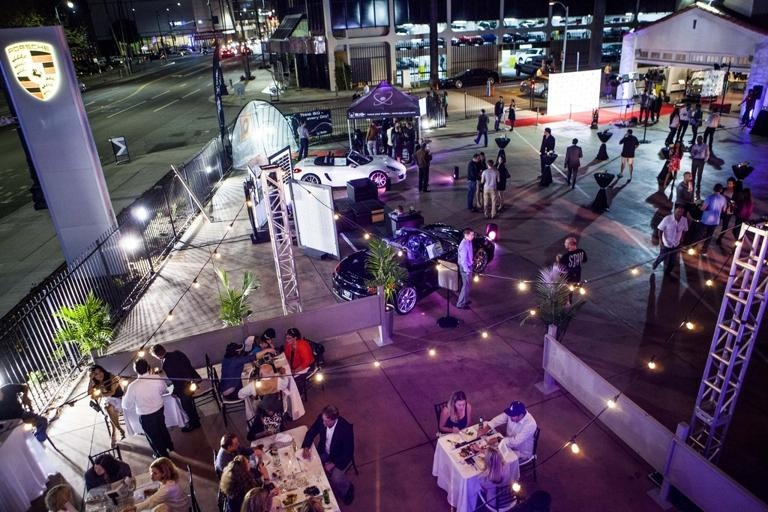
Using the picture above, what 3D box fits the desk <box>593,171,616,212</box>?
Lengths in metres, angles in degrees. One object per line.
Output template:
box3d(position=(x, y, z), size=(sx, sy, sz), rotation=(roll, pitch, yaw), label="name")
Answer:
box3d(position=(8.232, -2.531, 16.981), size=(0.642, 0.848, 0.486), rotation=(0, 28, 5), label="desk")

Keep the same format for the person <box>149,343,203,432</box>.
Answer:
box3d(position=(-4.539, 2.909, 9.845), size=(0.900, 1.928, 0.705), rotation=(-8, 44, -6), label="person")

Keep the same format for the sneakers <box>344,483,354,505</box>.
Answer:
box3d(position=(-0.638, 4.464, 8.611), size=(0.208, 0.342, 0.108), rotation=(7, 0, -36), label="sneakers")

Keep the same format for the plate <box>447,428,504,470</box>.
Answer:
box3d(position=(1.670, 3.490, 8.471), size=(0.719, 0.196, 0.491), rotation=(-10, 25, -27), label="plate")

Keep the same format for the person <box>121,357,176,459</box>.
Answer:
box3d(position=(-4.949, 3.240, 9.597), size=(0.876, 2.271, 0.694), rotation=(-19, 21, -41), label="person")

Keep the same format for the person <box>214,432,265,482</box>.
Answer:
box3d(position=(-2.679, 3.747, 8.475), size=(0.642, 1.145, 0.489), rotation=(-7, 39, -8), label="person")

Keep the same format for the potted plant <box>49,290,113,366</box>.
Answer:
box3d(position=(-7.424, 1.737, 11.298), size=(1.159, 1.407, 1.281), rotation=(-26, 0, 3), label="potted plant")

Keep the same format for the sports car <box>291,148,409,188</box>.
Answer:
box3d(position=(-1.423, -3.837, 19.899), size=(4.093, 1.304, 2.405), rotation=(-3, 33, -5), label="sports car")

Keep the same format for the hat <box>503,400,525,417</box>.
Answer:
box3d(position=(2.482, 2.883, 8.644), size=(0.353, 0.216, 0.255), rotation=(0, 15, 7), label="hat")

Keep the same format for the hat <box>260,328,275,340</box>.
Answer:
box3d(position=(-2.695, 1.790, 10.579), size=(0.283, 0.236, 0.204), rotation=(-14, 42, -23), label="hat")

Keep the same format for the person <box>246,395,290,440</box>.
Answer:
box3d(position=(-2.444, 3.338, 9.481), size=(0.756, 1.233, 0.402), rotation=(-10, 31, -26), label="person")

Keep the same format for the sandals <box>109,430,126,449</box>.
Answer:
box3d(position=(-5.819, 3.929, 9.928), size=(0.242, 0.187, 0.605), rotation=(-31, 24, -11), label="sandals")

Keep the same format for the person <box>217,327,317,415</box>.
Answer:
box3d(position=(-2.417, 2.558, 9.986), size=(1.565, 0.569, 2.098), rotation=(-5, 48, -7), label="person")

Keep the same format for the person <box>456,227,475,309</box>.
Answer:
box3d(position=(2.199, 0.327, 12.444), size=(0.405, 2.202, 0.590), rotation=(0, 25, 8), label="person")

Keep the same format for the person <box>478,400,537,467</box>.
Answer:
box3d(position=(2.404, 3.576, 8.785), size=(0.983, 1.649, 0.718), rotation=(-4, 16, -12), label="person")

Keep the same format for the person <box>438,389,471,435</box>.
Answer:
box3d(position=(1.423, 3.133, 9.087), size=(0.611, 1.109, 0.609), rotation=(-6, 40, -4), label="person")
